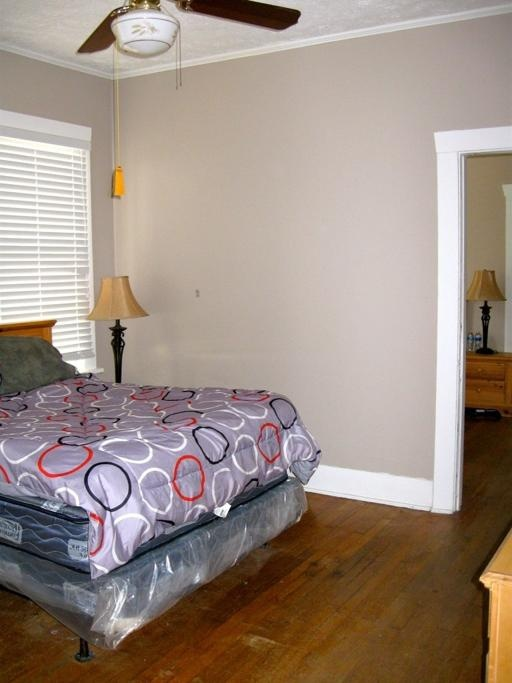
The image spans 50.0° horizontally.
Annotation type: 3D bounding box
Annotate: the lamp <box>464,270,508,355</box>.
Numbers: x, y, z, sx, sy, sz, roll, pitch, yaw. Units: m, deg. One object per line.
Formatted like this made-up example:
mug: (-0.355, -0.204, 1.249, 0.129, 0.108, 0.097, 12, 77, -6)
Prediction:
lamp: (2.367, -0.310, 5.675, 0.368, 0.883, 0.534, 1, 2, 22)
